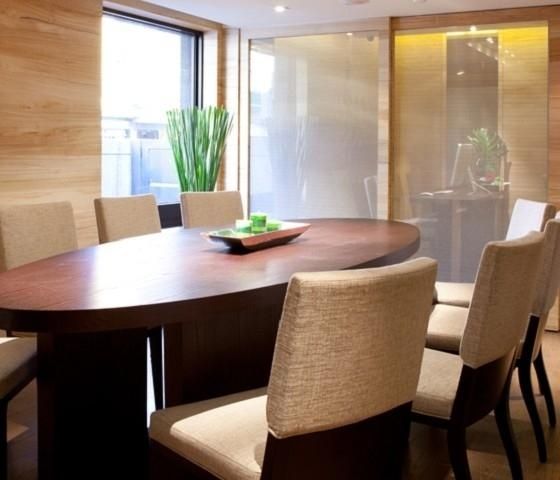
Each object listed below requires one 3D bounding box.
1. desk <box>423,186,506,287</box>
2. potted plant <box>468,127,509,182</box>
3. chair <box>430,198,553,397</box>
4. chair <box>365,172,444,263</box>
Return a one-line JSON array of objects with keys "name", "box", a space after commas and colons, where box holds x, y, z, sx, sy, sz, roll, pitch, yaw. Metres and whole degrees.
[{"name": "desk", "box": [1.688, -0.124, 4.388, 0.659, 0.712, 0.362, 15, 18, 13]}, {"name": "potted plant", "box": [1.798, -0.721, 4.129, 0.346, 0.544, 0.407, 1, -2, 0]}, {"name": "chair", "box": [1.464, 0.222, 3.223, 0.874, 1.623, 0.852, 1, 3, 29]}, {"name": "chair", "box": [1.394, -0.239, 4.801, 0.666, 1.299, 0.664, 0, 3, 33]}]
